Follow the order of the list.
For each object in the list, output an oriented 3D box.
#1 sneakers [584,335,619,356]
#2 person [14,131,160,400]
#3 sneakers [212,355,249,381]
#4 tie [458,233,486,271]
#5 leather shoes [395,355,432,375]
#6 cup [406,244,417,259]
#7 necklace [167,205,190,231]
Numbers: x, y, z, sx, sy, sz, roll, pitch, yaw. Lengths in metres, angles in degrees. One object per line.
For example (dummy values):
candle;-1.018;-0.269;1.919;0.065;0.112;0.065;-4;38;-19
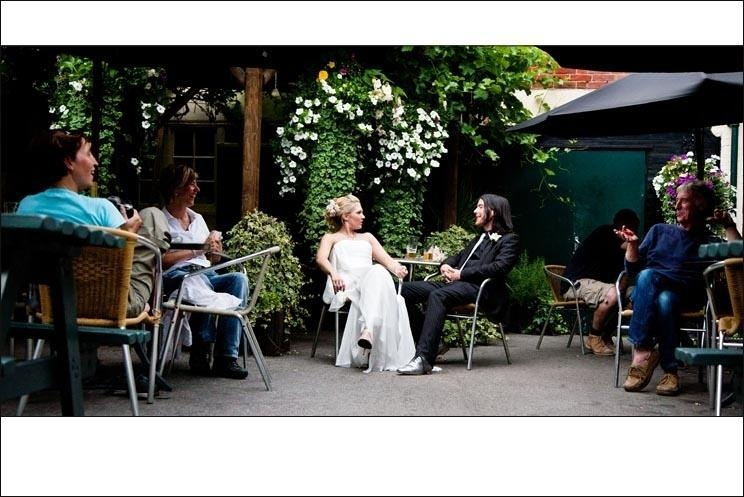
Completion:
sneakers;2.227;0.960;7.522;0.117;0.142;0.320;-3;1;-40
person;-1.787;-0.156;4.959;0.695;1.184;1.038;1;1;19
sneakers;-1.137;0.949;6.058;0.361;0.156;0.126;1;1;27
tie;0.924;0.046;7.014;0.068;0.405;0.060;38;9;-1
leather shoes;0.351;0.972;6.267;0.301;0.130;0.110;3;-4;-29
cup;0.365;0.029;7.080;0.114;0.146;0.114;0;7;0
necklace;-1.510;-0.239;5.959;0.120;0.147;0.193;-3;-21;12
